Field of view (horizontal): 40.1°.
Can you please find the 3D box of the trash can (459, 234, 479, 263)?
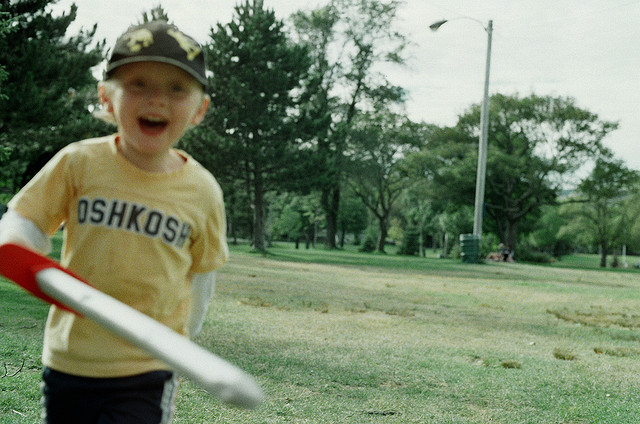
[{"bbox_3d":[5.070,1.222,29.901,0.615,1.014,0.841,4,3,11],"label":"trash can"}]
